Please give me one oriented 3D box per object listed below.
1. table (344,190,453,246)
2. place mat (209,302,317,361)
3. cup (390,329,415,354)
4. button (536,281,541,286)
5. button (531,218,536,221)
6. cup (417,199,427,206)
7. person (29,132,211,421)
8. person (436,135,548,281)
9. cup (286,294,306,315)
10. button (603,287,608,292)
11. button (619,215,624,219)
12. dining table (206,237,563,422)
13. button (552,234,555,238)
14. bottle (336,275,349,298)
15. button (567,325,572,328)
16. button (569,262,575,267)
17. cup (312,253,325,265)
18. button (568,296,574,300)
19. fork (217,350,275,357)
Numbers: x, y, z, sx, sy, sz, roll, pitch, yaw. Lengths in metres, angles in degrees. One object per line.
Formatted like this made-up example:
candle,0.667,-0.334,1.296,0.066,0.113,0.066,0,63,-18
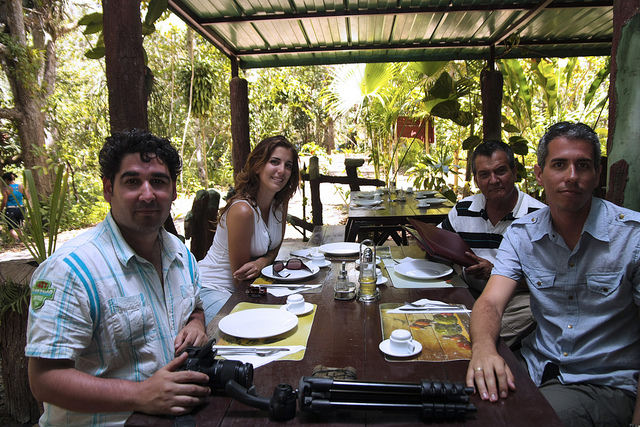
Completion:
table,0.941,0.160,5.545,1.151,0.786,1.640,3,8,7
place mat,-0.269,0.595,2.531,0.597,0.205,0.546,-4,5,-34
cup,0.430,0.649,2.273,0.082,0.080,0.132,-1,9,3
button,1.312,0.412,2.646,0.023,0.024,0.006,-2,-8,29
button,1.316,0.029,2.719,0.014,0.004,0.015,-7,-9,7
cup,1.273,-0.158,5.498,0.092,0.072,0.095,0,3,0
person,-0.999,0.257,2.237,0.842,1.343,0.763,-1,9,-16
person,1.419,-0.043,3.598,1.138,1.020,0.686,5,1,33
cup,-0.140,0.530,2.618,0.076,0.090,0.123,3,13,15
button,1.615,0.423,2.499,0.005,0.019,0.019,8,-39,-35
button,1.715,0.012,2.509,0.019,0.020,0.005,-10,-4,10
dining table,0.216,0.489,2.674,1.532,0.572,1.642,9,11,42
button,1.385,0.127,2.618,0.014,0.020,0.005,4,-3,10
bottle,0.143,0.459,2.814,0.095,0.173,0.099,-1,-15,0
button,1.454,0.649,2.567,0.019,0.015,0.009,3,9,7
button,1.466,0.292,2.570,0.025,0.027,0.006,3,9,10
cup,-0.013,0.333,3.368,0.074,0.063,0.076,1,15,0
button,1.467,0.486,2.577,0.026,0.022,0.003,5,10,20
fork,-0.383,0.718,2.285,0.289,0.023,0.033,2,8,0
